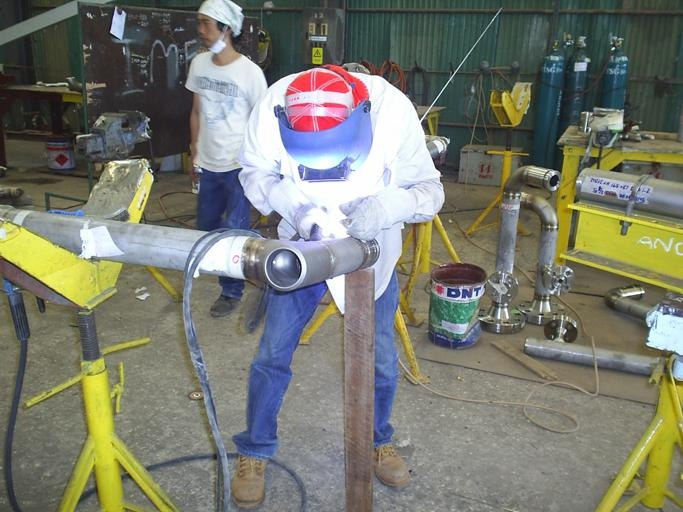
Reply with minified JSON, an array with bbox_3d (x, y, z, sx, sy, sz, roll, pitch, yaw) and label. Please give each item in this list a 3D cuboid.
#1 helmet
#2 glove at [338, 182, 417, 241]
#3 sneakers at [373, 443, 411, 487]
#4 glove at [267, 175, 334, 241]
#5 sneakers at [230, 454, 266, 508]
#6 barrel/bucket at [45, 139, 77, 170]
[{"bbox_3d":[-0.068,-0.538,2.430,0.332,0.513,0.298,0,6,13],"label":"helmet"},{"bbox_3d":[0.143,-0.180,2.490,0.184,0.132,0.295,25,31,30],"label":"glove"},{"bbox_3d":[0.264,1.104,3.216,0.113,0.125,0.263,-11,16,-20],"label":"sneakers"},{"bbox_3d":[-0.183,-0.192,2.724,0.160,0.245,0.502,-11,24,-32],"label":"glove"},{"bbox_3d":[-0.468,1.150,3.056,0.107,0.137,0.319,1,20,-9],"label":"sneakers"},{"bbox_3d":[-4.102,-1.475,8.826,0.351,0.444,0.388,2,18,2],"label":"barrel/bucket"}]
